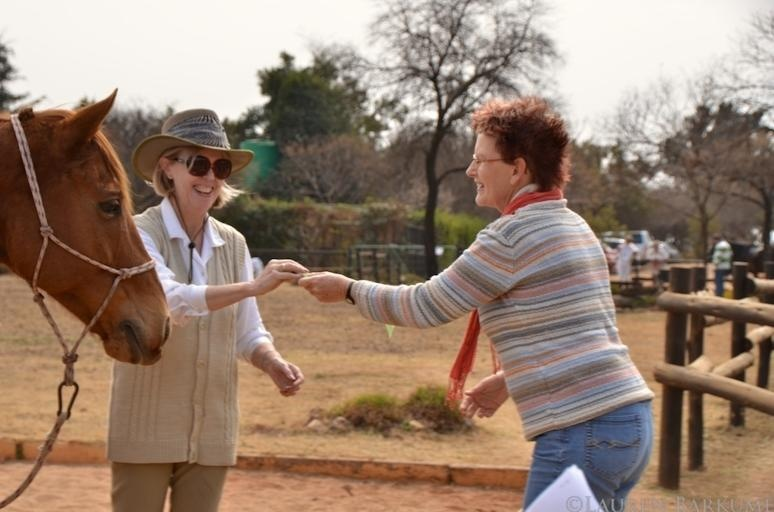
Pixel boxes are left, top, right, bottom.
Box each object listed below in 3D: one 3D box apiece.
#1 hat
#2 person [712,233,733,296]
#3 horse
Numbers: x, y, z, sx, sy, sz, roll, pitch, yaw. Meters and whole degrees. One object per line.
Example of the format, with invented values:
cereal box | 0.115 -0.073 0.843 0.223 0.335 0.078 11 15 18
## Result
hat | -1.991 -1.056 12.379 1.084 0.465 1.097 4 -26 -16
person | 4.657 0.162 17.390 0.286 0.938 0.655 3 14 14
horse | -2.851 -0.263 11.669 1.575 2.499 0.736 -1 14 -2
